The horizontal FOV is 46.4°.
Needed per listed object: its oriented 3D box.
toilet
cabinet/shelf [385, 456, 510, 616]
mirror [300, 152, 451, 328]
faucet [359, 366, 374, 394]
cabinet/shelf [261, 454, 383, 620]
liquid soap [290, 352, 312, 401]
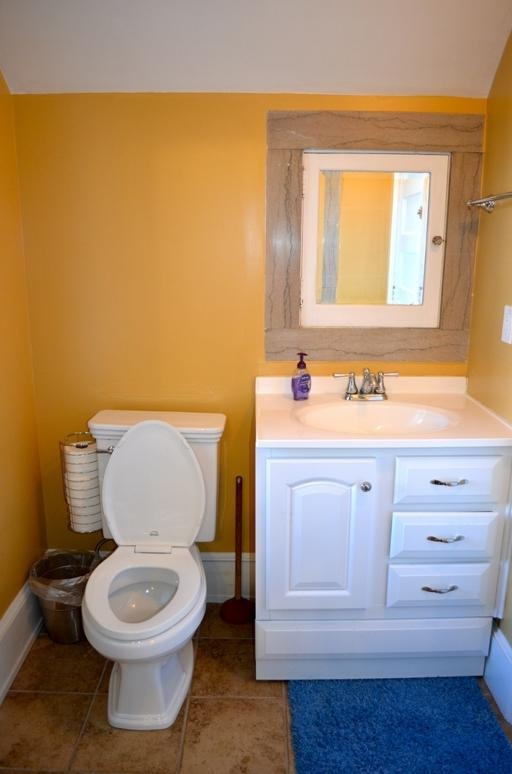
[{"bbox_3d":[-0.324,0.567,1.860,0.381,0.777,0.744,1,14,-2],"label":"toilet"},{"bbox_3d":[0.502,0.383,1.601,0.290,0.444,0.291,1,4,5],"label":"cabinet/shelf"},{"bbox_3d":[0.435,-0.498,2.051,0.418,0.511,0.064,1,7,-5],"label":"mirror"},{"bbox_3d":[0.386,-0.022,2.076,0.046,0.088,0.078,2,12,13],"label":"faucet"},{"bbox_3d":[0.191,0.410,1.849,0.400,0.603,0.406,0,9,1],"label":"cabinet/shelf"},{"bbox_3d":[0.157,-0.038,2.082,0.069,0.158,0.125,1,11,5],"label":"liquid soap"}]
